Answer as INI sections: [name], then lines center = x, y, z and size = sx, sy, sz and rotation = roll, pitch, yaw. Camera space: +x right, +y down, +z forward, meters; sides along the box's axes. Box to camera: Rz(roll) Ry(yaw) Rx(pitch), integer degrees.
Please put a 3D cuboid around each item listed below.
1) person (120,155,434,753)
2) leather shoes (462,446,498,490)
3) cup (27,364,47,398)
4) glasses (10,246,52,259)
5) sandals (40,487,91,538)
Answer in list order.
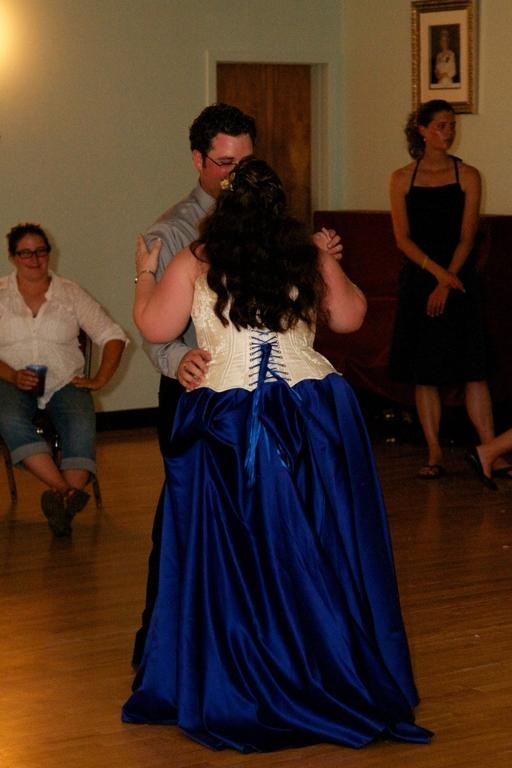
[person]
center = 0.034, 0.175, 1.465
size = 0.641, 1.199, 0.301
rotation = -2, 4, -9
[leather shoes]
center = 1.229, 0.457, 3.854
size = 0.102, 0.289, 0.113
rotation = -36, 3, 41
[cup]
center = -1.023, -0.009, 3.292
size = 0.071, 0.152, 0.116
rotation = -3, 4, -21
[glasses]
center = -1.113, -0.642, 3.467
size = 0.180, 0.068, 0.099
rotation = -2, 3, -16
[sandals]
center = -0.873, 0.601, 3.182
size = 0.173, 0.236, 0.105
rotation = 1, 16, -6
